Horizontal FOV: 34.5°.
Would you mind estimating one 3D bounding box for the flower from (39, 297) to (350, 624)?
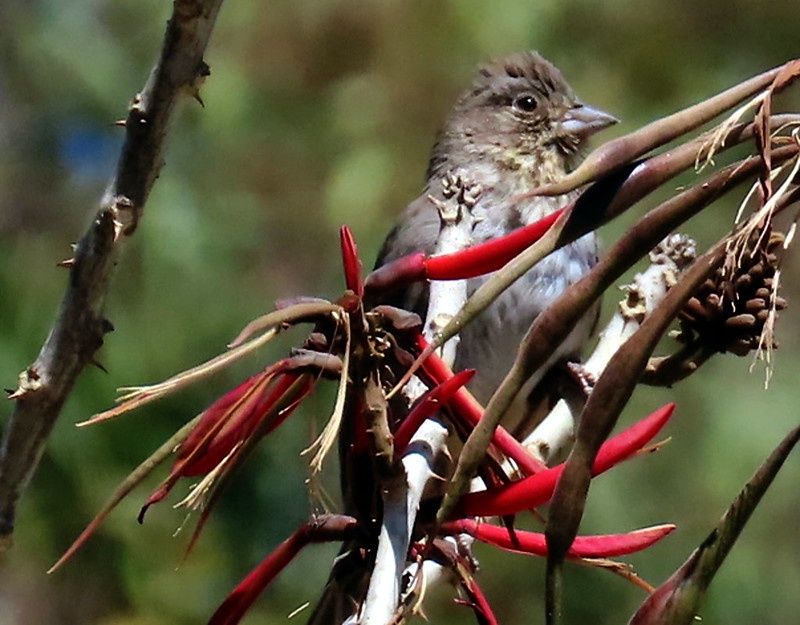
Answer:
[{"bbox_3d":[-0.305,0.212,2.345,0.664,0.289,0.313,-35,-29,4],"label":"flower"}]
